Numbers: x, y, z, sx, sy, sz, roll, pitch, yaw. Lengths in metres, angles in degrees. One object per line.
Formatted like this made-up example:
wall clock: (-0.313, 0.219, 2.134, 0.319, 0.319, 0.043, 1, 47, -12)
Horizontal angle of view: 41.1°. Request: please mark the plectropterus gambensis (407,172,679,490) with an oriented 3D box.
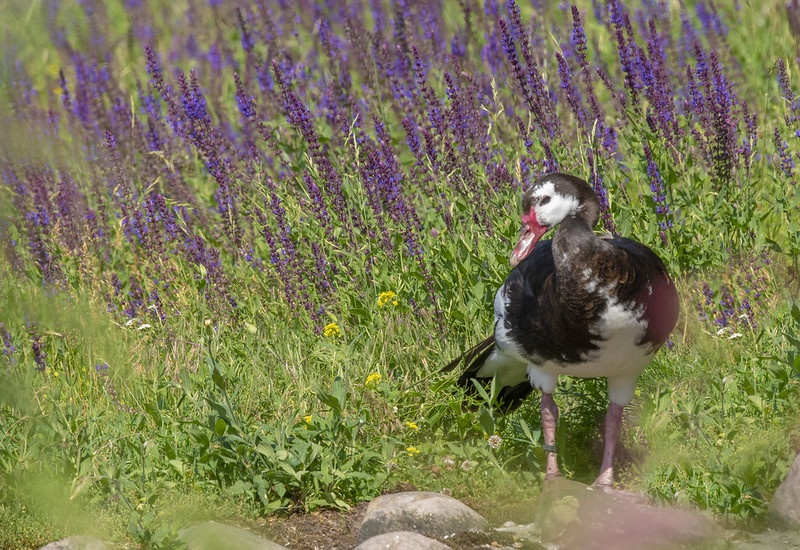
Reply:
plectropterus gambensis: (0.901, 0.206, 6.484, 0.955, 1.287, 1.782, 0, -13, 1)
